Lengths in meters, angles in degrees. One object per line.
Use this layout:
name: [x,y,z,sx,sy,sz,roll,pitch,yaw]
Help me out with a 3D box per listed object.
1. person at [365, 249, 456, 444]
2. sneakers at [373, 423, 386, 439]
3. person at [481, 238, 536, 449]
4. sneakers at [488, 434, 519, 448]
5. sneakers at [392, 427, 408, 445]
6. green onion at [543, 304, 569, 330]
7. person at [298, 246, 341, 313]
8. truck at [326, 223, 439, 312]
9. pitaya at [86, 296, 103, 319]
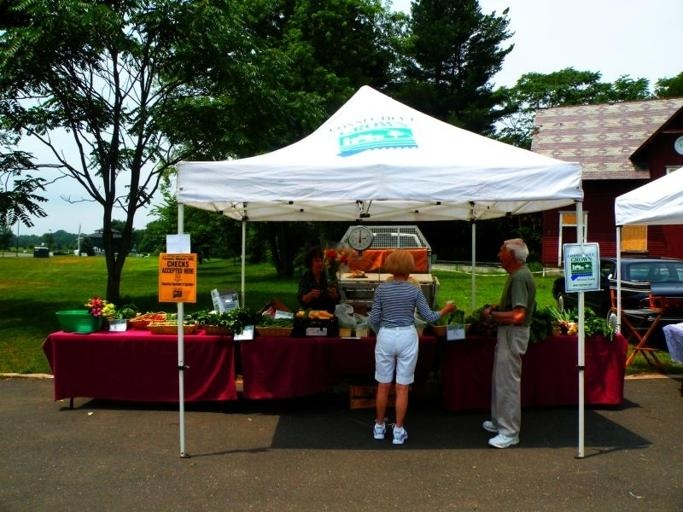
person: [0.789,1.191,9.050,0.834,2.520,0.552,0,11,0]
sneakers: [0.501,2.351,9.174,0.105,0.121,0.264,2,2,4]
person: [2.229,1.112,9.111,0.617,2.666,0.937,3,11,14]
sneakers: [2.115,2.420,8.996,0.391,0.186,0.159,3,-7,-5]
sneakers: [0.771,2.381,9.054,0.116,0.207,0.326,0,1,15]
green onion: [3.160,0.888,10.046,0.347,0.149,0.366,2,36,3]
person: [-0.360,0.351,10.872,0.603,0.975,1.505,0,11,-1]
truck: [1.043,0.104,15.143,1.372,1.473,2.746,-1,1,1]
pitaya: [-3.661,0.745,10.247,0.222,0.255,0.417,-4,12,-21]
